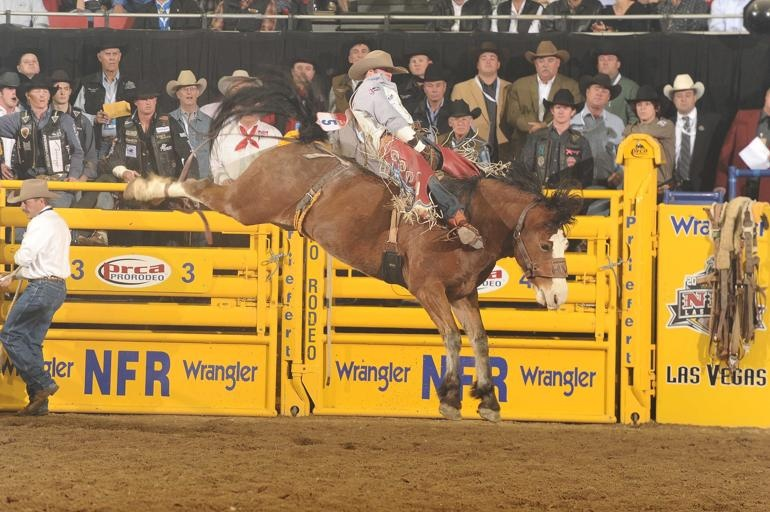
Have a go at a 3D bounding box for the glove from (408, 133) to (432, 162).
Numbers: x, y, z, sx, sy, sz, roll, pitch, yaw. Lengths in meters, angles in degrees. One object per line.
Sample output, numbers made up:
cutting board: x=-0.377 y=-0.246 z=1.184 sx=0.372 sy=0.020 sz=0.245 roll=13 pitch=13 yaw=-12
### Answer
glove: x=0.432 y=-1.266 z=20.538 sx=0.157 sy=0.320 sz=0.343 roll=5 pitch=8 yaw=38

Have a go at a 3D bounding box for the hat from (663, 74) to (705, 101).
hat: x=4.062 y=-2.262 z=23.396 sx=0.543 sy=0.339 sz=0.254 roll=1 pitch=6 yaw=9

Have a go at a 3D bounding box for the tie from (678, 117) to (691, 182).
tie: x=4.046 y=-1.409 z=23.275 sx=0.157 sy=0.850 sz=0.200 roll=2 pitch=6 yaw=12

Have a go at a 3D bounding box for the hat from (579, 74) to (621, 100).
hat: x=2.955 y=-2.270 z=23.466 sx=0.555 sy=0.337 sz=0.168 roll=1 pitch=6 yaw=1

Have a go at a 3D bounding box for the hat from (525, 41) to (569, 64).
hat: x=2.244 y=-2.775 z=23.662 sx=0.362 sy=0.152 sz=0.385 roll=0 pitch=-13 yaw=6

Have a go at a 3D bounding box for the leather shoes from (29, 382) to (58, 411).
leather shoes: x=-4.158 y=1.763 z=21.057 sx=0.248 sy=0.515 sz=0.172 roll=7 pitch=18 yaw=-40
